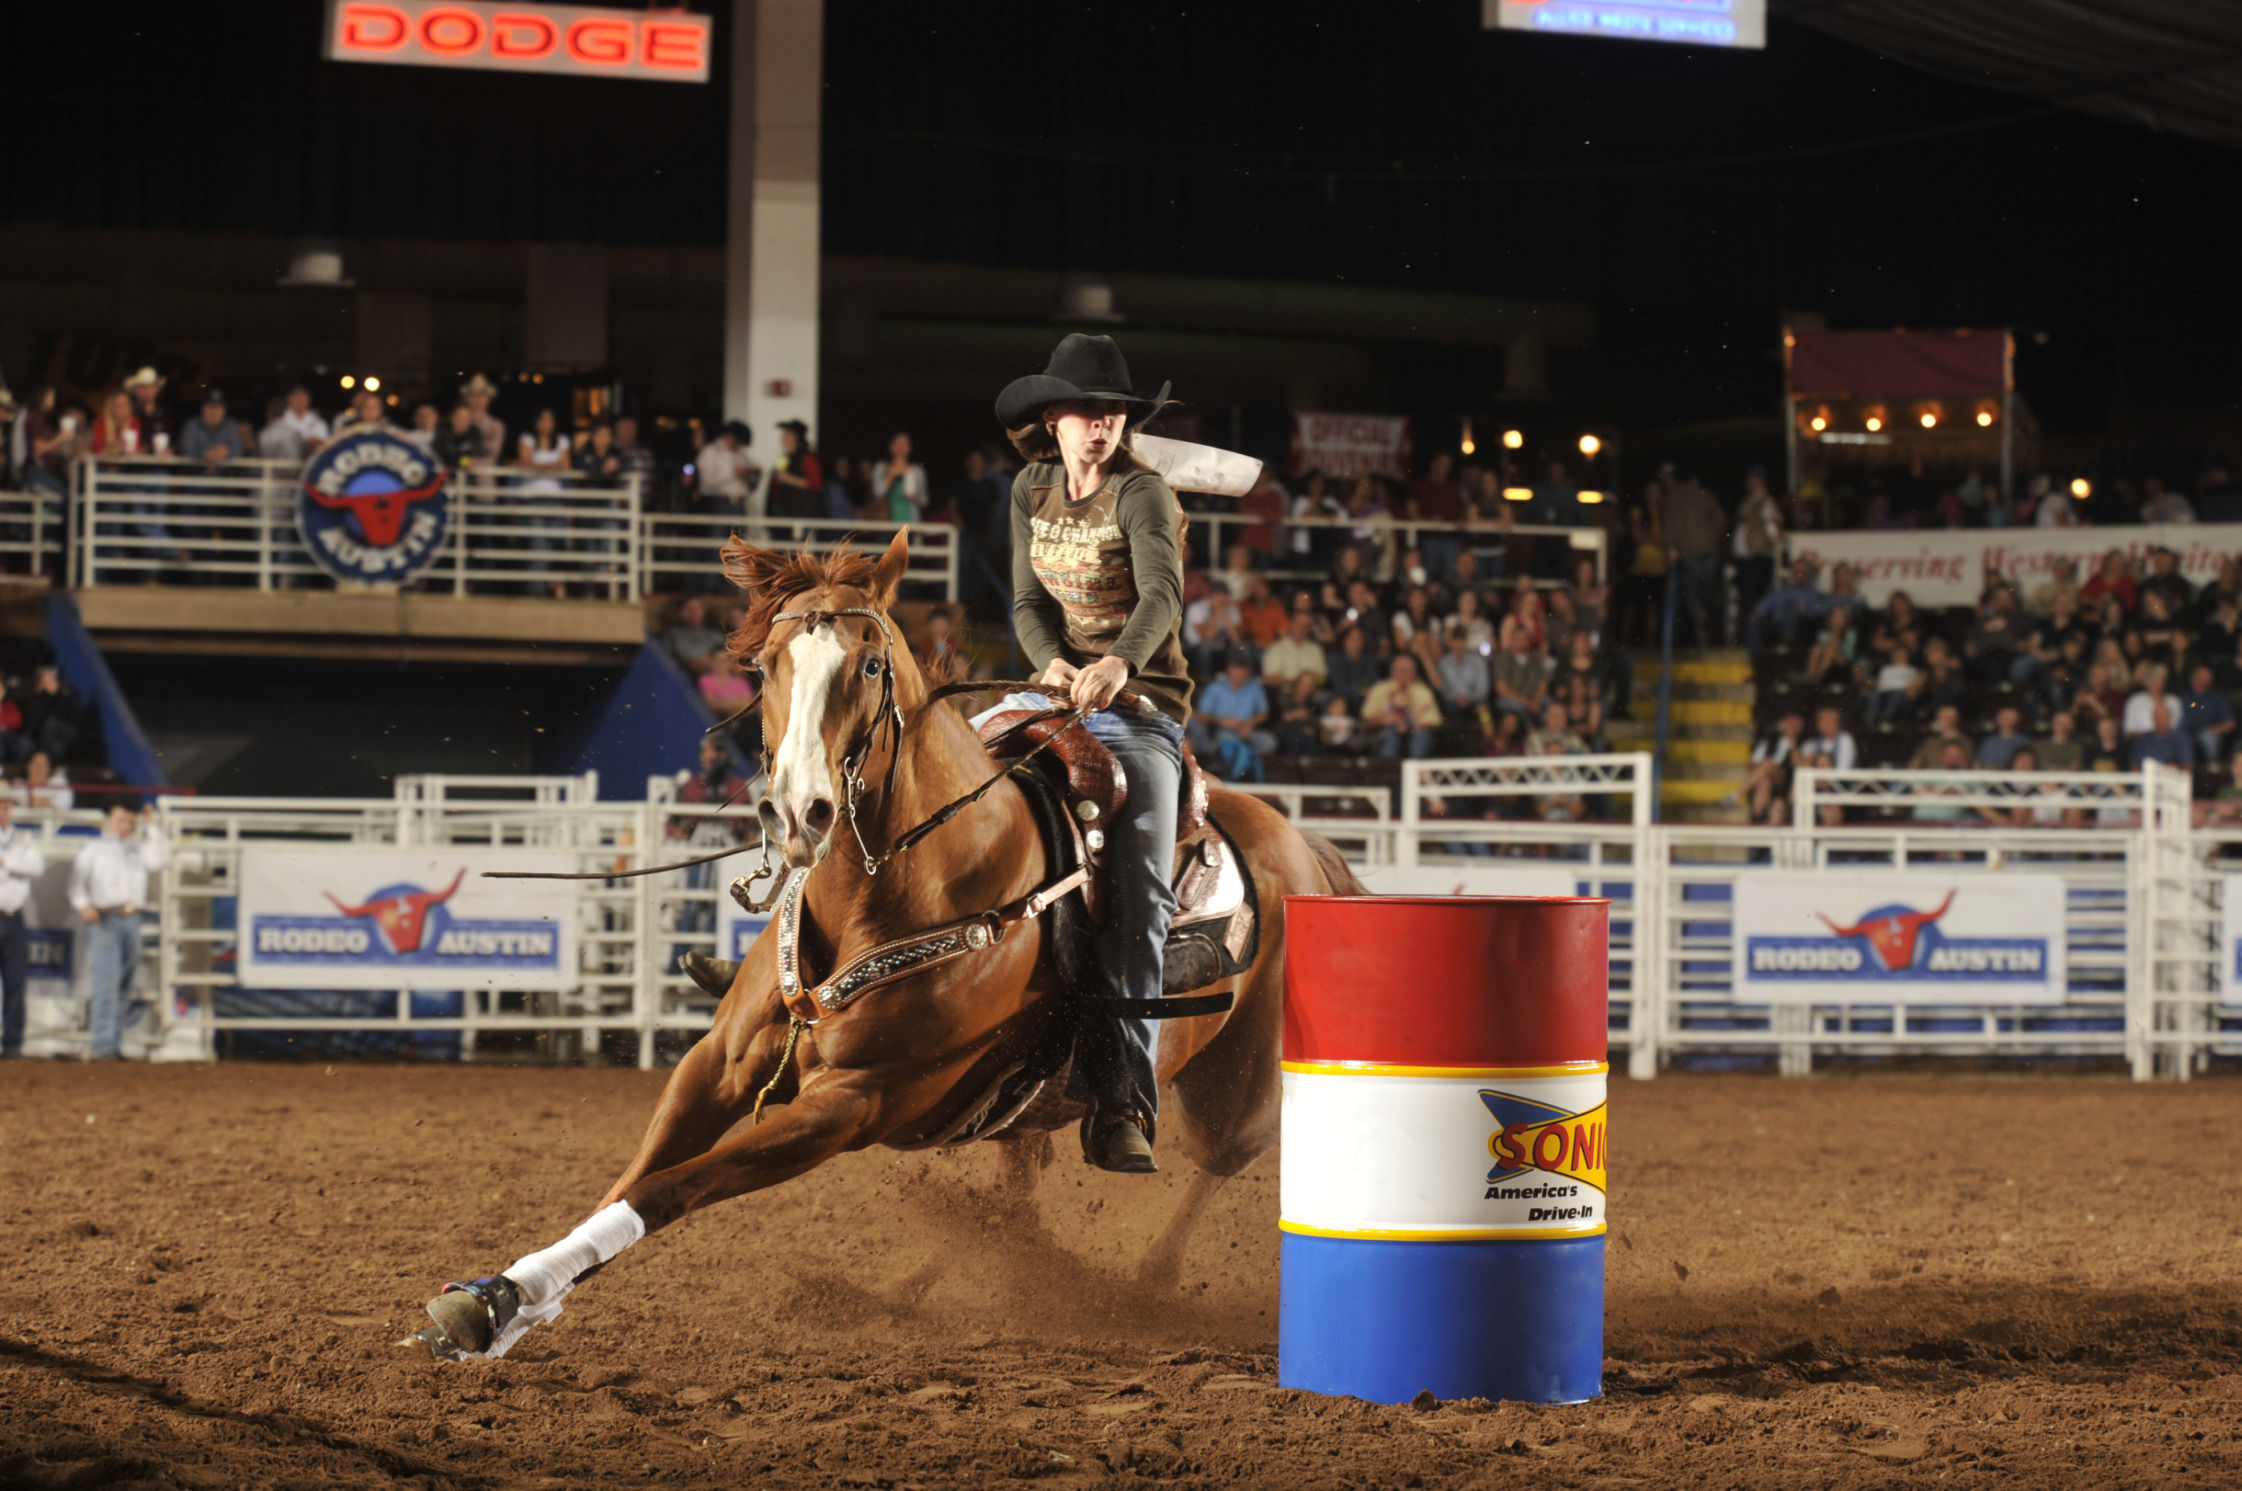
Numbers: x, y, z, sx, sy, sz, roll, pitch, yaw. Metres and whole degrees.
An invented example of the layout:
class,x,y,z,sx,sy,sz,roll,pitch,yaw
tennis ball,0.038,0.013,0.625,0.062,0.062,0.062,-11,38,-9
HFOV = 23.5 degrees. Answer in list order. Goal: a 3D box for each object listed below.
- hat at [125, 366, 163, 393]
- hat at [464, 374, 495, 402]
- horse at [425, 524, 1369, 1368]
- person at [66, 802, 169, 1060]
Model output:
class,x,y,z,sx,sy,sz,roll,pitch,yaw
hat,-12.203,-4.643,66.818,0.458,0.199,0.526,-1,-5,-15
hat,-7.998,-4.524,66.681,0.343,0.152,0.382,2,-18,-8
horse,-1.230,1.890,53.852,3.605,8.520,13.111,6,8,35
person,-11.298,2.196,60.199,1.032,2.848,0.493,0,0,-14
